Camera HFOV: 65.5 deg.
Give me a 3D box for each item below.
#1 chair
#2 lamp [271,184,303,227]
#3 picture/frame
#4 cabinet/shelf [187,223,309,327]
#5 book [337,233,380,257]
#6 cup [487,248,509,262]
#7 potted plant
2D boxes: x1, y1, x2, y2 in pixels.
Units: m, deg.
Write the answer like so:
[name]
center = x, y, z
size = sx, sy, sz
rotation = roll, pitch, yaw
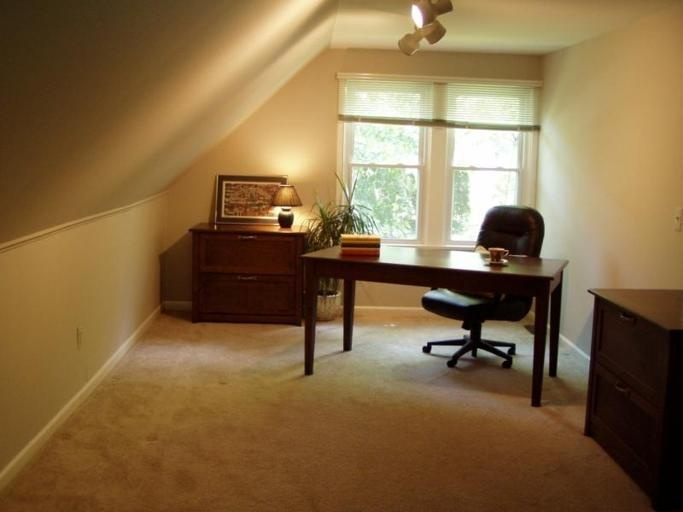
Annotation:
[chair]
center = 1.109, 0.213, 4.194
size = 0.849, 1.184, 0.751
rotation = -5, 9, -43
[lamp]
center = -0.522, -0.470, 5.066
size = 0.265, 0.394, 0.345
rotation = 0, 10, -4
[picture/frame]
center = -0.897, -0.532, 5.169
size = 0.509, 0.373, 0.020
rotation = 1, -3, -4
[cabinet/shelf]
center = -0.865, 0.132, 5.058
size = 1.004, 0.876, 0.581
rotation = 1, 14, -7
[book]
center = 0.132, -0.068, 3.850
size = 0.223, 0.113, 0.162
rotation = 0, 5, -3
[cup]
center = 1.063, -0.005, 3.623
size = 0.131, 0.095, 0.107
rotation = 1, -2, -7
[potted plant]
center = 0.016, -0.157, 5.149
size = 0.518, 1.156, 0.574
rotation = 7, -7, 16
